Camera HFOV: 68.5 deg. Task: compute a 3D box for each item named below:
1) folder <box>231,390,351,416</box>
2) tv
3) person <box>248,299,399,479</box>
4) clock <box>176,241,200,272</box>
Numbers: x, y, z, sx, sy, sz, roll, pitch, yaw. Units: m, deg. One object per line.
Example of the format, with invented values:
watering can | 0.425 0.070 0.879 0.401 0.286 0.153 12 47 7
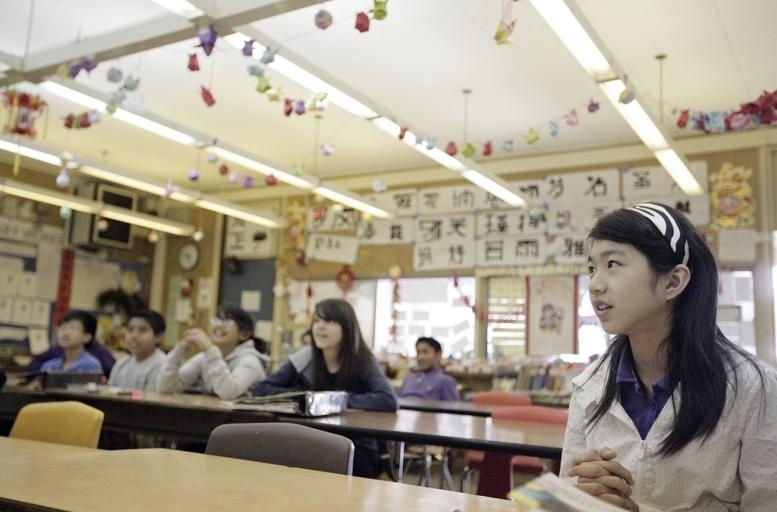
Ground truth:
folder | -0.480 0.739 2.862 0.569 0.124 0.260 2 -9 -11
tv | -4.222 -0.541 8.417 0.555 0.842 0.946 2 -4 5
person | -0.365 0.879 3.373 0.924 1.128 0.686 -3 -6 11
clock | -3.128 0.014 8.969 0.432 0.437 0.014 -4 -10 24
